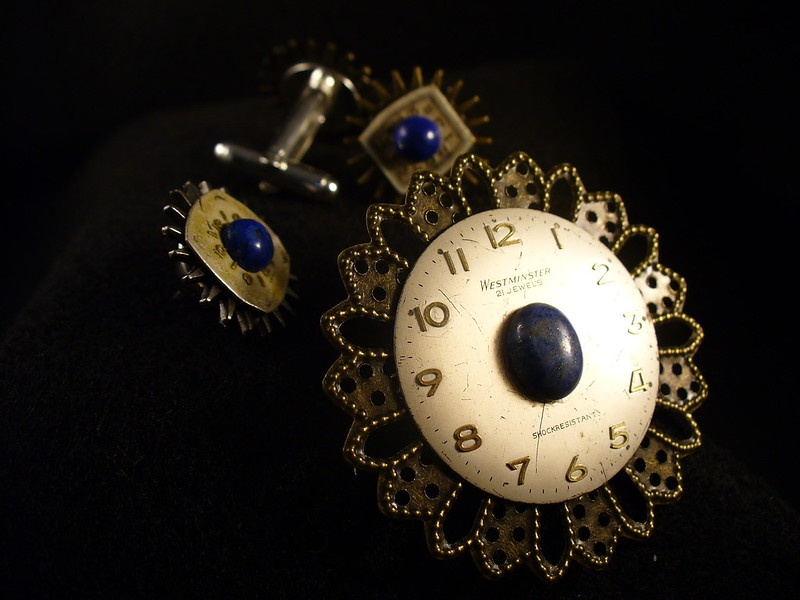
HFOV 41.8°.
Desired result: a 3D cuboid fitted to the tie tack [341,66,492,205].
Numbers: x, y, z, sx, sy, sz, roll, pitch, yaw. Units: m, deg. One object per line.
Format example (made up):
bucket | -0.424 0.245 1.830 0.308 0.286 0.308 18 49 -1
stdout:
tie tack | 0.036 -0.372 2.365 0.333 0.378 0.119 2 42 -14
